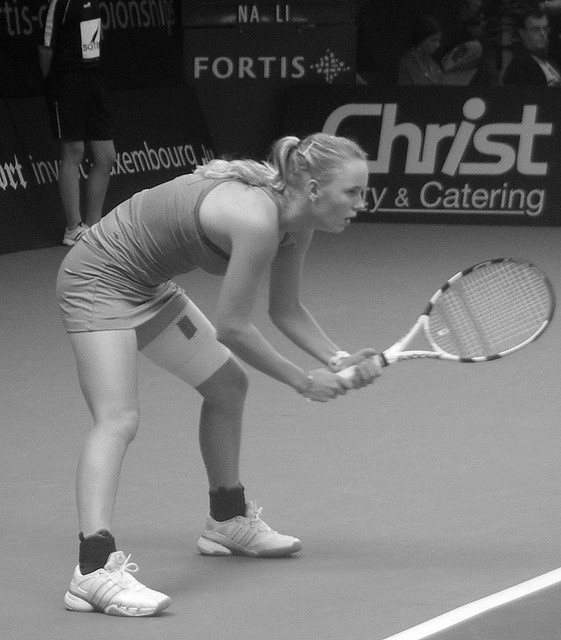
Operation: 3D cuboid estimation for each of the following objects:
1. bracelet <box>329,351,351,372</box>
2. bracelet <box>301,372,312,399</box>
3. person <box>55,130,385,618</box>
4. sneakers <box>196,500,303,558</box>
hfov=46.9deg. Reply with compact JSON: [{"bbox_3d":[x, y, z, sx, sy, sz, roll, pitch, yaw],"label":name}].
[{"bbox_3d":[0.169,0.111,1.774,0.049,0.023,0.057,-4,42,45],"label":"bracelet"},{"bbox_3d":[0.061,0.153,1.473,0.017,0.049,0.040,8,4,4],"label":"bracelet"},{"bbox_3d":[-0.151,0.126,1.558,0.752,1.123,0.528,-3,7,-17],"label":"person"},{"bbox_3d":[-0.090,0.608,1.880,0.361,0.144,0.112,2,-6,9],"label":"sneakers"}]
